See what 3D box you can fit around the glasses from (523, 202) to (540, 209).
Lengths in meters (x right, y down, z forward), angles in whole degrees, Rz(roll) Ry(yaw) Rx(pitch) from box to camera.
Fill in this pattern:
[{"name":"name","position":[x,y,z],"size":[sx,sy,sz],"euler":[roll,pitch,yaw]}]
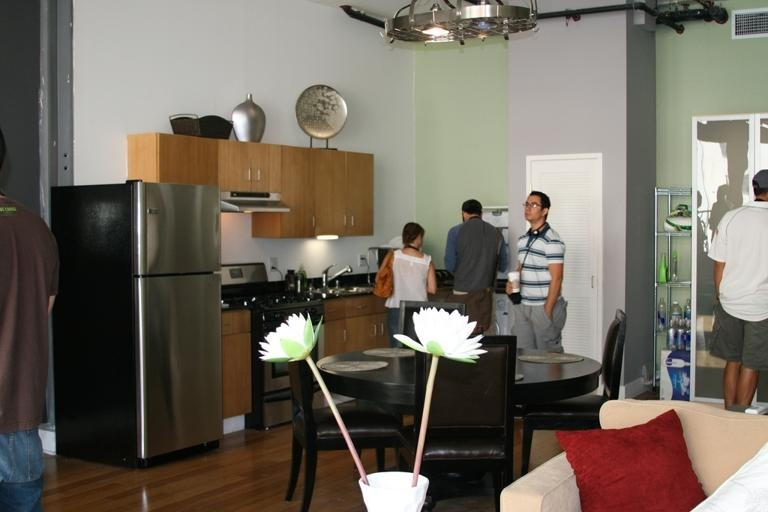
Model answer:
[{"name":"glasses","position":[1.318,-0.454,5.767],"size":[0.094,0.046,0.196],"euler":[-3,7,-19]}]

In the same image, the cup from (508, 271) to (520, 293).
[{"name":"cup","position":[1.162,0.231,5.713],"size":[0.101,0.186,0.191],"euler":[1,6,11]}]

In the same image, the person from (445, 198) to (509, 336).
[{"name":"person","position":[0.972,0.226,6.884],"size":[0.590,1.739,0.510],"euler":[1,21,3]}]

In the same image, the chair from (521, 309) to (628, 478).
[{"name":"chair","position":[1.407,1.023,4.963],"size":[0.800,1.392,0.764],"euler":[1,16,14]}]

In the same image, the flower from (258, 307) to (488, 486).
[{"name":"flower","position":[-0.021,0.518,2.287],"size":[0.714,0.707,0.428],"euler":[1,6,11]}]

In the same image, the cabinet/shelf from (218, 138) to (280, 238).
[{"name":"cabinet/shelf","position":[-1.407,-0.760,6.429],"size":[0.716,0.654,0.253],"euler":[-5,10,-43]}]

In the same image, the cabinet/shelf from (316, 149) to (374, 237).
[{"name":"cabinet/shelf","position":[-0.467,-0.708,7.271],"size":[0.922,0.926,0.346],"euler":[-5,8,-44]}]

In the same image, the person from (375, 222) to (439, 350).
[{"name":"person","position":[0.236,0.398,6.942],"size":[0.569,1.703,0.453],"euler":[1,30,1]}]

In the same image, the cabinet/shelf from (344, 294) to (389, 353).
[{"name":"cabinet/shelf","position":[-0.215,0.727,7.006],"size":[0.232,0.591,0.622],"euler":[-1,-1,37]}]

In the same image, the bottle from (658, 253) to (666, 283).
[{"name":"bottle","position":[3.178,0.139,7.295],"size":[0.099,0.323,0.312],"euler":[2,7,23]}]

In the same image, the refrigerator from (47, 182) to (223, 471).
[{"name":"refrigerator","position":[-2.170,0.539,5.841],"size":[1.296,2.301,1.269],"euler":[1,2,40]}]

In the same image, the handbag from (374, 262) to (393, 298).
[{"name":"handbag","position":[0.000,0.268,6.702],"size":[0.183,0.428,0.375],"euler":[1,3,-13]}]

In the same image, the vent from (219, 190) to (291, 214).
[{"name":"vent","position":[-1.268,-0.527,6.351],"size":[0.168,0.225,0.811],"euler":[4,8,38]}]

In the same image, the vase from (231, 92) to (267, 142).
[{"name":"vase","position":[-1.404,-1.386,6.470],"size":[0.266,0.500,0.369],"euler":[3,7,29]}]
